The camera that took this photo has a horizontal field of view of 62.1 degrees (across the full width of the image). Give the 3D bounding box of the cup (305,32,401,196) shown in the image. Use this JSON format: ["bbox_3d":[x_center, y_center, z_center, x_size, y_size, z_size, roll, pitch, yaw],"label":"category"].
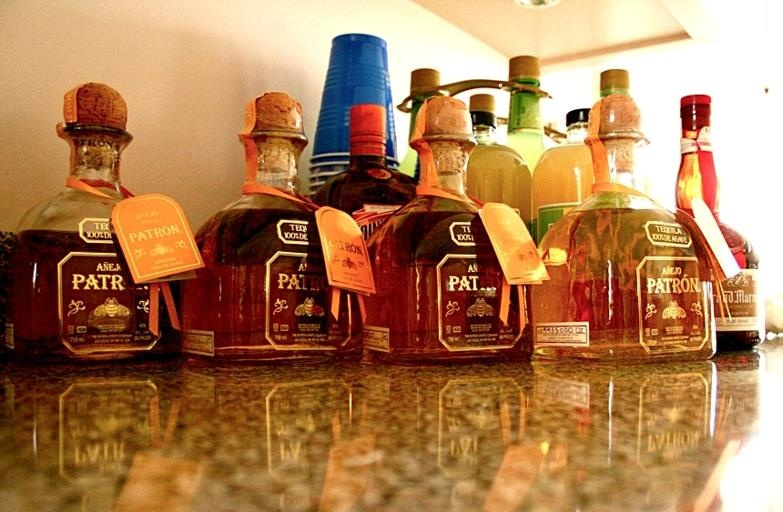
[{"bbox_3d":[-0.063,-0.220,0.992,0.129,0.236,0.058,-2,0,-7],"label":"cup"}]
